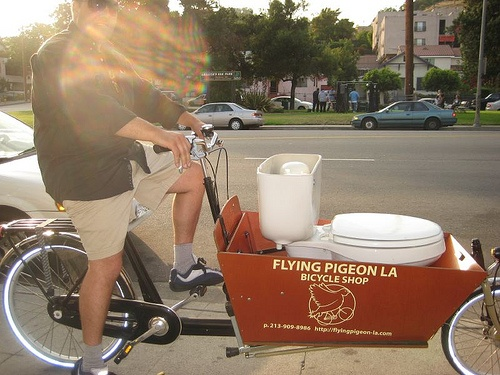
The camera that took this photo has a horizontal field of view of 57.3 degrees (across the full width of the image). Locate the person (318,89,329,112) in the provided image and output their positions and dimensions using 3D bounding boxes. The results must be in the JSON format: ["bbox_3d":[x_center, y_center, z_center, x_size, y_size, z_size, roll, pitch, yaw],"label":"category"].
[{"bbox_3d":[5.841,-6.869,36.438,0.720,1.564,2.024,2,13,10],"label":"person"}]

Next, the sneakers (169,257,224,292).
[{"bbox_3d":[-0.343,0.589,3.096,0.457,0.235,0.158,-4,4,-19],"label":"sneakers"}]

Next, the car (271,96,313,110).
[{"bbox_3d":[3.983,-8.157,44.187,3.523,1.158,7.685,1,14,5],"label":"car"}]

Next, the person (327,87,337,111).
[{"bbox_3d":[6.355,-6.793,35.664,0.660,1.676,3.276,2,14,9],"label":"person"}]

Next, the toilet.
[{"bbox_3d":[0.603,0.136,2.997,1.070,0.795,0.627,-2,15,6],"label":"toilet"}]
